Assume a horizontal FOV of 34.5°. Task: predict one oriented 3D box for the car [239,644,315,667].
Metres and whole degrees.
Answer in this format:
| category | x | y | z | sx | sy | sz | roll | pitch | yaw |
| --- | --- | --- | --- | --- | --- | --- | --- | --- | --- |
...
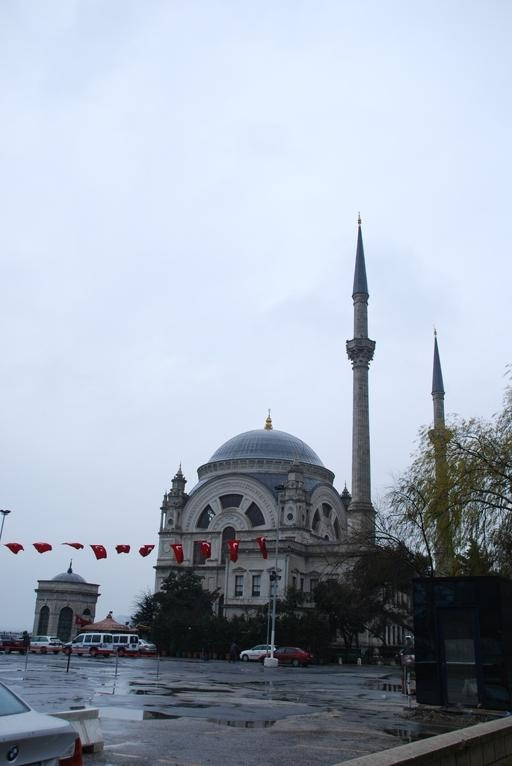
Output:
| category | x | y | z | sx | sy | sz | roll | pitch | yaw |
| --- | --- | --- | --- | --- | --- | --- | --- | --- | --- |
| car | 1.025 | 15.141 | 45.870 | 1.116 | 1.080 | 5.259 | 13 | -22 | -31 |
